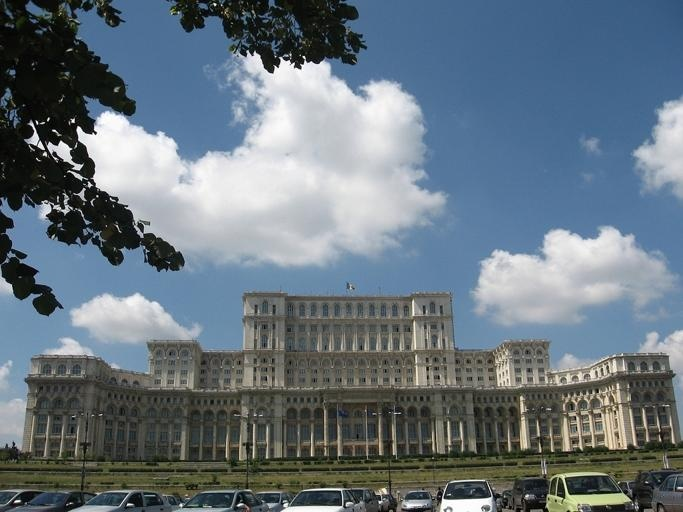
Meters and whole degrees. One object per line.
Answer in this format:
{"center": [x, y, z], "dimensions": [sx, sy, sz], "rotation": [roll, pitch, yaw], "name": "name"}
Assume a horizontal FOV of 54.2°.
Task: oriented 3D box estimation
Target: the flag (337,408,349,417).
{"center": [0.101, 27.241, 115.649], "dimensions": [1.354, 1.416, 2.297], "rotation": [-1, -26, 4], "name": "flag"}
